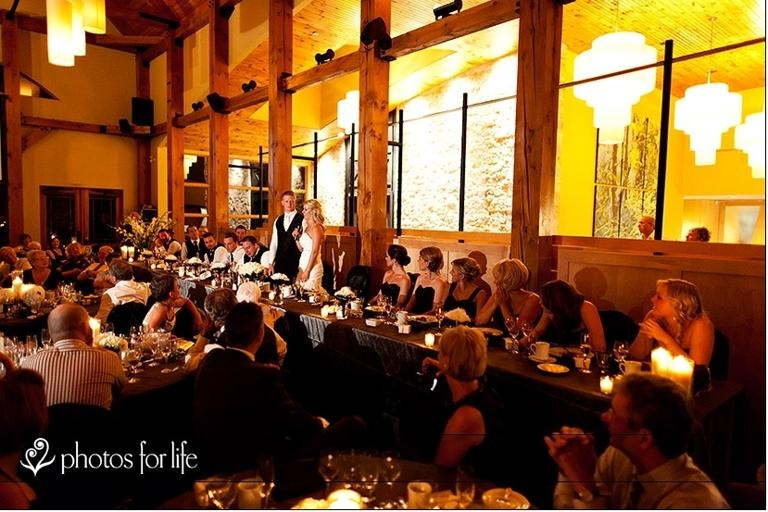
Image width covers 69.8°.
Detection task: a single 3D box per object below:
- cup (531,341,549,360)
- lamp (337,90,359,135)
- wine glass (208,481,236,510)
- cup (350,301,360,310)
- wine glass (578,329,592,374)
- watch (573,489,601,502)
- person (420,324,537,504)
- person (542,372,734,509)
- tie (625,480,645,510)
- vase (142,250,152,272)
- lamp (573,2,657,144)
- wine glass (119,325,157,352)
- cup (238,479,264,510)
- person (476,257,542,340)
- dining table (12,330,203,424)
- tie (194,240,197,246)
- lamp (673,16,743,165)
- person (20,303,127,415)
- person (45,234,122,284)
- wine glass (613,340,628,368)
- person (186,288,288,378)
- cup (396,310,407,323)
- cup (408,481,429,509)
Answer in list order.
[{"bbox_3d":[1.250,0.764,4.428,0.105,0.148,0.171,1,-7,-3],"label":"cup"},{"bbox_3d":[-0.678,-2.709,10.438,0.348,0.655,1.021,3,2,-7],"label":"lamp"},{"bbox_3d":[-0.925,1.371,3.177,0.139,0.121,0.154,8,-16,-36],"label":"wine glass"},{"bbox_3d":[-0.285,0.504,5.541,0.091,0.071,0.074,2,-5,-1],"label":"cup"},{"bbox_3d":[1.585,0.758,4.355,0.129,0.247,0.330,4,2,21],"label":"wine glass"},{"bbox_3d":[1.175,1.386,3.175,0.070,0.036,0.094,2,-15,-11],"label":"watch"},{"bbox_3d":[0.804,1.068,4.242,0.908,1.646,0.737,0,-3,27],"label":"person"},{"bbox_3d":[1.443,1.086,3.161,0.965,0.720,0.224,4,2,12],"label":"person"},{"bbox_3d":[1.448,1.386,3.166,0.062,0.108,0.145,9,-19,-9],"label":"tie"},{"bbox_3d":[-4.071,0.101,9.463,0.125,0.340,0.292,-1,25,-28],"label":"vase"},{"bbox_3d":[2.708,-2.010,6.476,0.860,1.253,1.573,4,2,26],"label":"lamp"},{"bbox_3d":[-2.072,0.719,4.674,0.255,0.261,0.262,9,-11,-34],"label":"wine glass"},{"bbox_3d":[-0.751,1.371,3.176,0.142,0.154,0.143,0,-11,0],"label":"cup"},{"bbox_3d":[1.243,0.591,5.302,0.590,1.097,0.612,-1,1,-10],"label":"person"},{"bbox_3d":[-1.972,0.912,4.064,0.810,0.518,0.781,4,3,28],"label":"dining table"},{"bbox_3d":[-3.512,-0.249,10.278,0.084,0.065,0.021,1,-8,15],"label":"tie"},{"bbox_3d":[4.228,-1.834,7.202,0.745,1.558,0.736,4,2,32],"label":"lamp"},{"bbox_3d":[-2.262,0.776,4.033,0.738,0.777,0.452,-3,1,-3],"label":"person"},{"bbox_3d":[-4.985,0.048,9.021,0.723,0.687,2.039,-7,12,-38],"label":"person"},{"bbox_3d":[1.807,0.755,4.213,0.092,0.174,0.088,4,2,25],"label":"wine glass"},{"bbox_3d":[-1.165,0.631,4.373,0.702,0.533,1.683,7,-16,-9],"label":"person"},{"bbox_3d":[0.174,0.587,5.165,0.102,0.104,0.082,1,-3,12],"label":"cup"},{"bbox_3d":[0.202,1.371,3.168,0.118,0.120,0.108,-2,3,0],"label":"cup"}]
